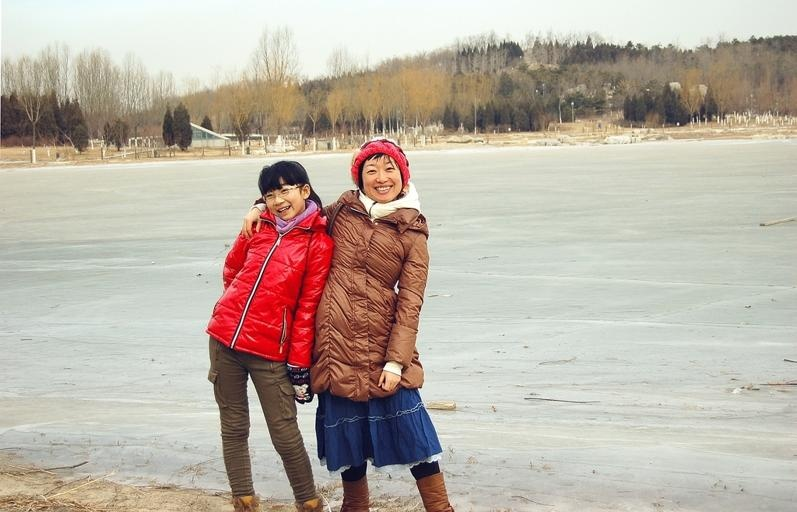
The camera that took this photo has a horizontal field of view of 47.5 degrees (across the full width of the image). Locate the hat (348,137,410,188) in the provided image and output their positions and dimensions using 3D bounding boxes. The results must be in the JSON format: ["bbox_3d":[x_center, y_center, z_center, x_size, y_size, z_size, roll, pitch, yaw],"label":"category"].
[{"bbox_3d":[-0.138,-0.702,6.999,0.384,0.392,0.192,1,16,2],"label":"hat"}]
